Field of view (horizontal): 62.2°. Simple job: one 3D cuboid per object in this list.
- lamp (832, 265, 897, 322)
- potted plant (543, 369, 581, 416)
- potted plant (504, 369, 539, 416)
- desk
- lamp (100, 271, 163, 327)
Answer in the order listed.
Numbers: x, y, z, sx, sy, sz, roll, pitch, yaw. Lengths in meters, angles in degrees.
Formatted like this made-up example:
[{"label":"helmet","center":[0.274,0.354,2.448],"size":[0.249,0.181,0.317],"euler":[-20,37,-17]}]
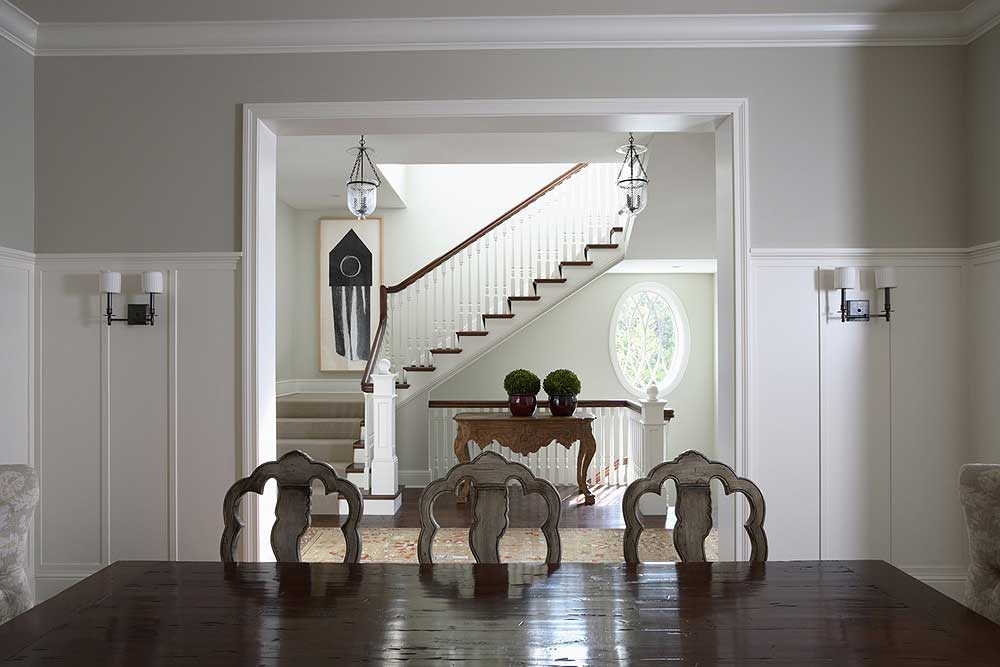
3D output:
[{"label":"lamp","center":[2.412,-0.251,5.516],"size":[0.426,0.363,0.219],"euler":[-1,0,-2]},{"label":"potted plant","center":[0.586,0.587,8.037],"size":[0.416,0.463,0.389],"euler":[1,-9,-1]},{"label":"potted plant","center":[0.212,0.572,7.845],"size":[0.390,0.435,0.383],"euler":[1,-9,-2]},{"label":"desk","center":[0.241,1.195,7.922],"size":[1.342,0.787,0.503],"euler":[0,3,-1]},{"label":"lamp","center":[-2.467,-0.226,5.570],"size":[0.370,0.315,0.156],"euler":[0,2,0]}]
